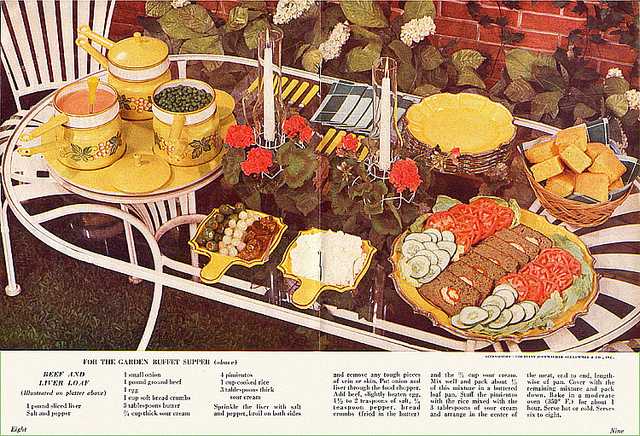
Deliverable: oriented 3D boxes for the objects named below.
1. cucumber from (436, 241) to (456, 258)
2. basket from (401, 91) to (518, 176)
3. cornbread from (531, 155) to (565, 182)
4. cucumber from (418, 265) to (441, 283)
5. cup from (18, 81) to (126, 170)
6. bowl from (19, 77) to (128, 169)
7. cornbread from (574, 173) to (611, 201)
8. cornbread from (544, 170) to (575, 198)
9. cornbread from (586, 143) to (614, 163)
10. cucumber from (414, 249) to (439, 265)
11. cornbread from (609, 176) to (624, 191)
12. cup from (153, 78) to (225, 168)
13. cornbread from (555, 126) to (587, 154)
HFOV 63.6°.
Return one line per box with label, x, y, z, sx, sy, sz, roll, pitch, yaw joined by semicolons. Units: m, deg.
cucumber;0.338;0.087;1.397;0.042;0.012;0.039;15;70;30
basket;0.411;-0.265;1.563;0.338;0.131;0.291;-3;57;-13
cornbread;0.656;-0.142;1.488;0.075;0.047;0.076;-24;19;24
cucumber;0.293;0.153;1.371;0.052;0.012;0.039;-45;58;-6
cup;-0.655;-0.271;1.538;0.190;0.193;0.334;32;49;18
bowl;-0.701;-0.234;1.465;0.187;0.197;0.309;21;45;3
cornbread;0.774;-0.092;1.455;0.102;0.053;0.061;13;56;-3
cornbread;0.693;-0.096;1.474;0.074;0.044;0.098;22;61;28
cornbread;0.808;-0.199;1.511;0.081;0.020;0.075;-14;42;-20
cucumber;0.291;0.101;1.393;0.046;0.010;0.044;-12;62;6
cornbread;0.859;-0.097;1.495;0.036;0.010;0.038;42;82;-20
cup;-0.356;-0.290;1.533;0.170;0.167;0.258;4;47;-1
cornbread;0.730;-0.243;1.519;0.089;0.053;0.088;0;32;28
